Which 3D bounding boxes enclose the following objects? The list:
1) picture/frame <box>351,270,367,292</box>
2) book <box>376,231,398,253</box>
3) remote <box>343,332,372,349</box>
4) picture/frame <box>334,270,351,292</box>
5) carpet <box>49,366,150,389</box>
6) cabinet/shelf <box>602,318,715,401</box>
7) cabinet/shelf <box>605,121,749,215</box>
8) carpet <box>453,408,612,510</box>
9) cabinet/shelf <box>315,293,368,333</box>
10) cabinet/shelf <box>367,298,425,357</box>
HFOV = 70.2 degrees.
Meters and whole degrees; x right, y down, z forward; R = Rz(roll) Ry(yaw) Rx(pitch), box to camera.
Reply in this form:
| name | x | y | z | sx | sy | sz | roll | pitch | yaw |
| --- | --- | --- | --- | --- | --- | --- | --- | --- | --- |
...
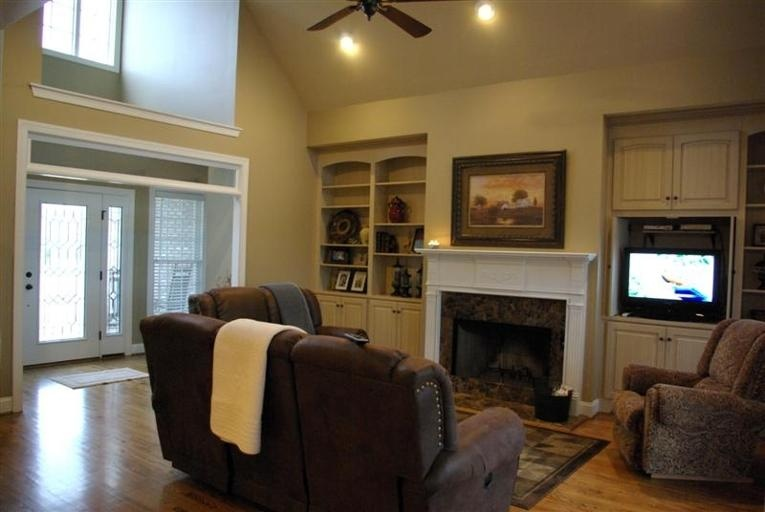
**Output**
| name | x | y | z | sx | sy | sz | roll | pitch | yaw |
| --- | --- | --- | --- | --- | --- | --- | --- | --- | --- |
| picture/frame | -0.376 | 0.404 | 8.350 | 0.341 | 0.378 | 0.034 | -5 | -33 | 41 |
| book | 0.050 | -0.146 | 8.229 | 0.302 | 0.384 | 0.414 | -2 | -3 | 34 |
| remote | -0.162 | 0.587 | 3.815 | 0.214 | 0.048 | 0.160 | 8 | 9 | 42 |
| picture/frame | -0.634 | 0.403 | 8.522 | 0.333 | 0.390 | 0.039 | 4 | -15 | 42 |
| carpet | -3.788 | 1.628 | 7.272 | 1.048 | 0.059 | 0.789 | -4 | 9 | -41 |
| cabinet/shelf | 2.996 | 1.096 | 5.832 | 0.986 | 0.890 | 0.382 | 1 | -6 | 29 |
| cabinet/shelf | 3.410 | -1.001 | 6.191 | 1.175 | 0.832 | 0.430 | 2 | -1 | 31 |
| carpet | 1.298 | 1.766 | 4.636 | 0.997 | 0.011 | 0.894 | 1 | 8 | 45 |
| cabinet/shelf | -0.561 | 0.822 | 7.742 | 0.628 | 0.559 | 0.246 | 0 | -2 | 28 |
| cabinet/shelf | 0.214 | 0.942 | 7.200 | 0.850 | 0.762 | 0.330 | 0 | -3 | 30 |
